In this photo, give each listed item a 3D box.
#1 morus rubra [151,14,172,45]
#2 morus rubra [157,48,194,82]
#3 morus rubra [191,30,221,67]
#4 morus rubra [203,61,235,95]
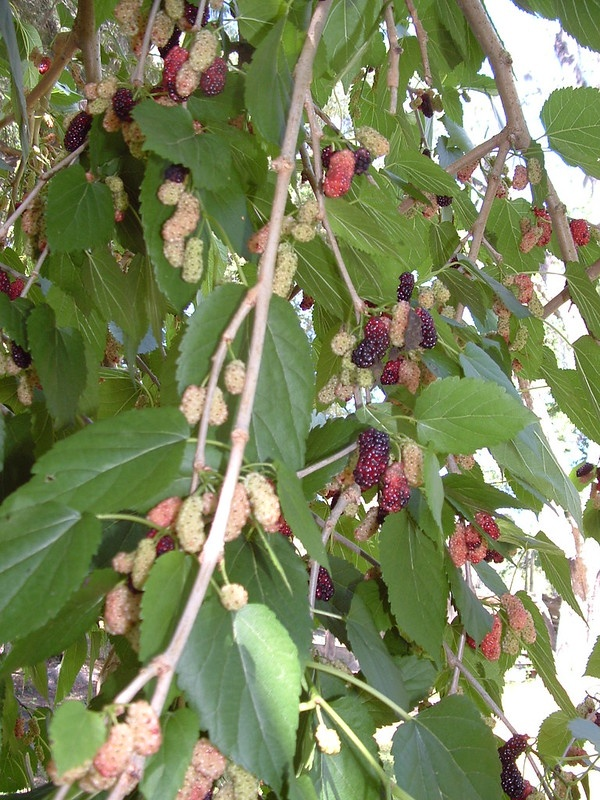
[{"bbox_3d":[-0.121,-0.322,0.657,0.016,0.024,0.018,24,-15,-6],"label":"morus rubra"},{"bbox_3d":[-0.107,-0.281,0.629,0.019,0.032,0.011,20,-5,1],"label":"morus rubra"},{"bbox_3d":[-0.078,-0.280,0.603,0.020,0.030,0.011,10,16,-15],"label":"morus rubra"},{"bbox_3d":[-0.067,-0.268,0.630,0.017,0.031,0.013,29,-16,-24],"label":"morus rubra"}]
